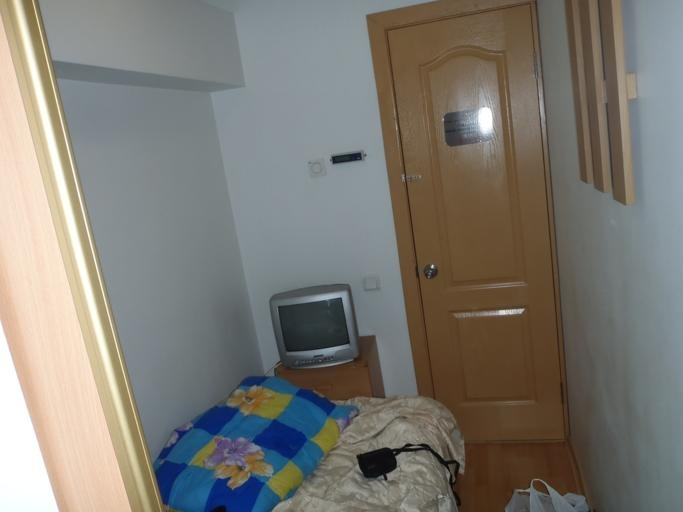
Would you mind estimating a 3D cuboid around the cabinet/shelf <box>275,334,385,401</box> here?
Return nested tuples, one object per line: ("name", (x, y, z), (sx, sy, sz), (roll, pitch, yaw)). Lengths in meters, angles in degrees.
("cabinet/shelf", (-0.004, 0.721, 3.022), (0.507, 0.380, 0.376), (-2, 1, 14))

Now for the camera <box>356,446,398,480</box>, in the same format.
("camera", (0.155, 0.882, 2.091), (0.166, 0.053, 0.147), (-9, 11, -1))

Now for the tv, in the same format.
("tv", (-0.094, 0.303, 3.119), (0.617, 0.604, 0.447), (-6, 5, 10))

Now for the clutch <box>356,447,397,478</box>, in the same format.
("clutch", (0.153, 0.867, 2.070), (0.116, 0.091, 0.059), (-6, -22, -19))
